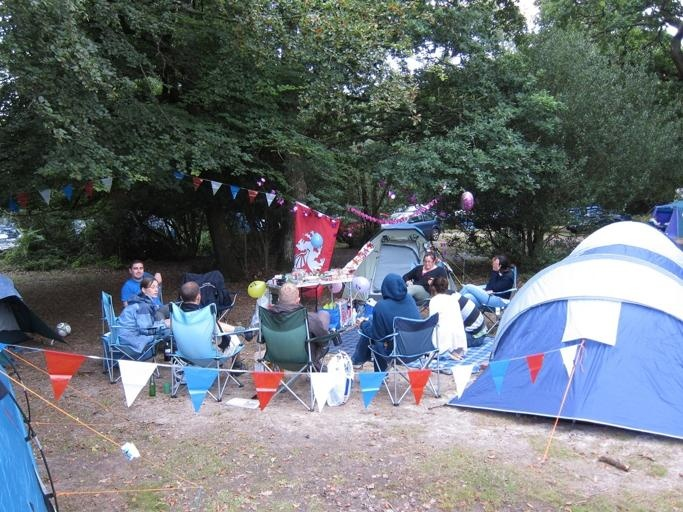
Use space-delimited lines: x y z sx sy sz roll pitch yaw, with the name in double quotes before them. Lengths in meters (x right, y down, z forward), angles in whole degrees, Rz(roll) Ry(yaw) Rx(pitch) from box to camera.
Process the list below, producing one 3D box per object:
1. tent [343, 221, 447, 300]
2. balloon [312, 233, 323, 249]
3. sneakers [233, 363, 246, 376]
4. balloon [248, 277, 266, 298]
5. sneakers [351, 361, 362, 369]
"tent" 1.080 0.063 12.759 1.526 0.820 1.544 -2 15 0
"balloon" -0.523 -0.321 13.152 0.260 0.308 0.263 -16 -11 32
"sneakers" -1.526 1.677 9.054 0.136 0.228 0.230 4 45 3
"balloon" -1.471 0.543 10.154 0.309 0.246 0.236 -10 -2 35
"sneakers" 0.220 1.607 9.083 0.205 0.118 0.291 2 1 -1
